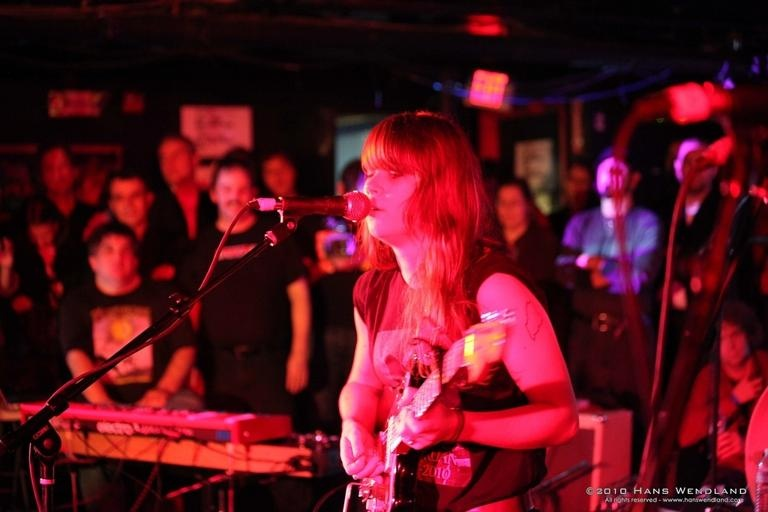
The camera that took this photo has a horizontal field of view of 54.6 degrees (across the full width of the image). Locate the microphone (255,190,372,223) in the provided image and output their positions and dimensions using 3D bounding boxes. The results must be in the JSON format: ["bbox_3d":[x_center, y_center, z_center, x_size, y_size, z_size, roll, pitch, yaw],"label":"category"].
[{"bbox_3d":[-0.279,-0.217,3.235,0.588,0.150,0.180,2,-6,-10],"label":"microphone"}]

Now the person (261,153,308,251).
[{"bbox_3d":[-0.862,-0.389,6.779,0.415,1.054,0.587,0,12,14],"label":"person"}]
